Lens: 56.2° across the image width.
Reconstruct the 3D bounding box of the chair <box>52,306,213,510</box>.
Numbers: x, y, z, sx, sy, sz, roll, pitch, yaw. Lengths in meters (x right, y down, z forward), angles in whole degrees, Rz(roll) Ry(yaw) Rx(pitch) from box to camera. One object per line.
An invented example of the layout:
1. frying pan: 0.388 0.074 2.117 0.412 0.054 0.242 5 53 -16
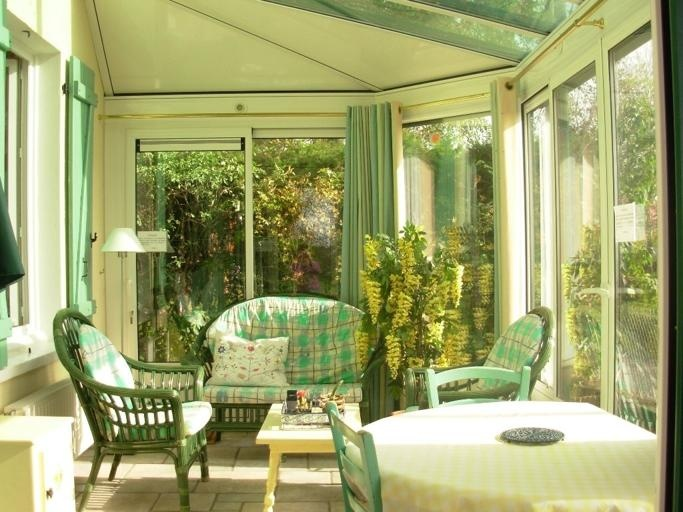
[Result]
1. chair: -1.315 0.944 4.595 1.048 1.518 1.145 -1 -2 -2
